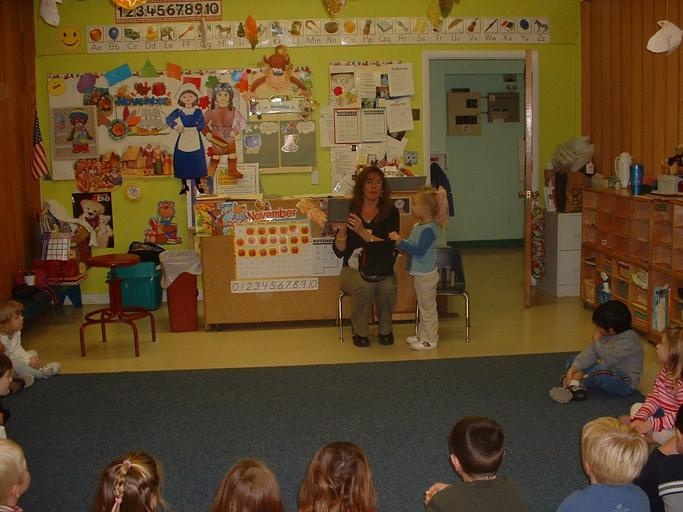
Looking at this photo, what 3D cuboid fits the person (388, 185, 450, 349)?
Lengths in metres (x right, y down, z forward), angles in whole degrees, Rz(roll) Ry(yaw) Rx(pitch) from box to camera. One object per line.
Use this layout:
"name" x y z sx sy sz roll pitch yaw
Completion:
"person" 0.700 0.108 5.352 0.490 1.413 0.365 0 10 6

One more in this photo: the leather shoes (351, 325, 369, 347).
"leather shoes" 0.178 0.724 5.469 0.160 0.173 0.128 0 11 9

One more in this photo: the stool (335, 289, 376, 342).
"stool" 0.161 0.545 5.797 0.390 0.513 0.526 -2 6 -7

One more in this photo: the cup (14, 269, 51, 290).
"cup" -3.212 0.239 6.222 0.261 0.132 0.195 -1 5 -30

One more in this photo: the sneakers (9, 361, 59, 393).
"sneakers" -2.411 0.961 4.728 0.339 0.148 0.116 -11 47 -22

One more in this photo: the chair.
"chair" 0.940 0.318 5.434 0.568 0.819 0.615 5 -1 -11

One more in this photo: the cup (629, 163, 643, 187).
"cup" 2.897 -0.795 5.879 0.121 0.192 0.192 4 12 26

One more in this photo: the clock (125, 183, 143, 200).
"clock" -2.457 -0.761 7.119 0.168 0.178 0.041 6 7 -2

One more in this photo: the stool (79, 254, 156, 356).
"stool" -2.099 0.440 5.604 0.606 0.894 0.635 -4 7 -12

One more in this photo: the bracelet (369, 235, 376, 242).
"bracelet" 0.279 -0.163 5.448 0.045 0.026 0.063 0 17 -2

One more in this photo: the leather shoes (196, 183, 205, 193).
"leather shoes" -1.665 -0.807 7.100 0.065 0.128 0.046 -28 10 -3

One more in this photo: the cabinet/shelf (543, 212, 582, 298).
"cabinet/shelf" 2.591 -0.037 7.038 0.307 0.957 0.443 -3 10 -7
